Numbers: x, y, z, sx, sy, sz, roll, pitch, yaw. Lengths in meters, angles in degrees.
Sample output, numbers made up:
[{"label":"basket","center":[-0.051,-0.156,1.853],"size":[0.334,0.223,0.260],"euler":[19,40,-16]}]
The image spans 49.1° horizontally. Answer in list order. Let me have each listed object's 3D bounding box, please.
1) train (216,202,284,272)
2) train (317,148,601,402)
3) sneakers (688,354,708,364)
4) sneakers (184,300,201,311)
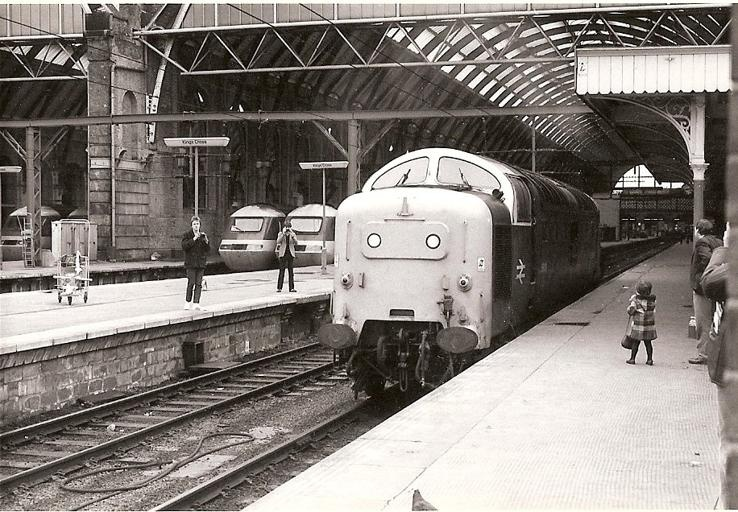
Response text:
[{"label":"train","center":[-4.966,-0.742,36.914],"size":[2.062,3.389,5.699],"euler":[1,1,12]},{"label":"train","center":[2.207,0.145,16.937],"size":[2.644,4.769,8.308],"euler":[5,10,29]},{"label":"sneakers","center":[5.859,1.831,14.297],"size":[0.289,0.146,0.119],"euler":[1,-2,19]},{"label":"sneakers","center":[-4.149,1.156,18.800],"size":[0.456,0.254,0.169],"euler":[-6,2,22]}]
